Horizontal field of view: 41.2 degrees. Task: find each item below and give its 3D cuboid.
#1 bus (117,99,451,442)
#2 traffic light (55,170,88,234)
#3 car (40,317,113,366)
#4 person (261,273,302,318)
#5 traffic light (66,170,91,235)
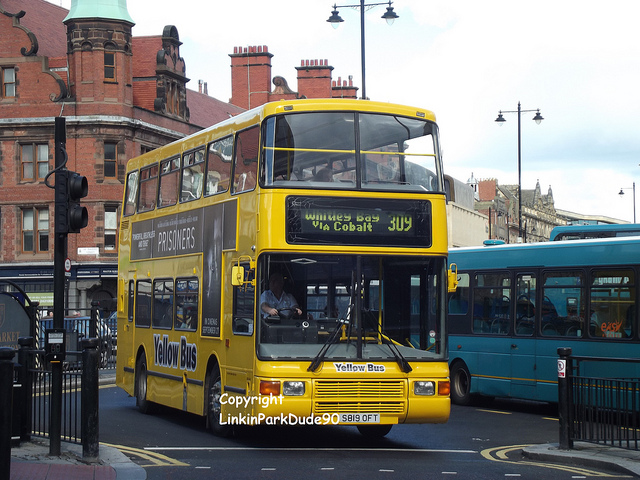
[{"bbox_3d":[-0.535,0.693,14.504,2.248,4.009,5.918,4,-5,-25],"label":"bus"},{"bbox_3d":[-3.550,-0.544,12.084,0.529,0.929,0.460,2,-4,-6],"label":"traffic light"},{"bbox_3d":[-7.696,3.201,26.660,1.656,2.009,3.458,4,-12,-7],"label":"car"},{"bbox_3d":[-0.756,0.887,13.915,0.600,0.901,0.619,0,1,-31],"label":"person"},{"bbox_3d":[-3.499,-0.564,12.252,0.318,0.899,0.944,2,-4,-17],"label":"traffic light"}]
